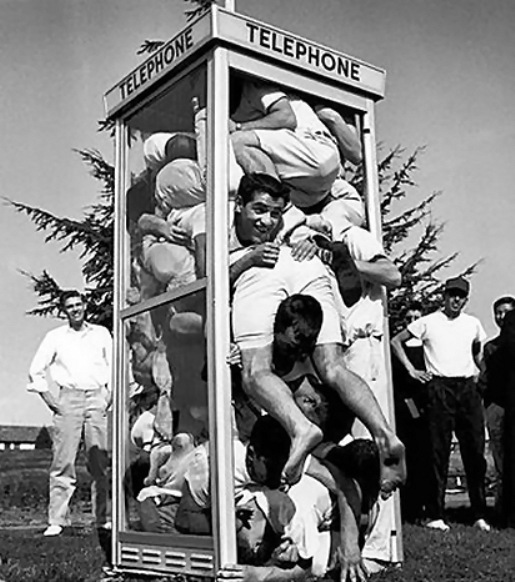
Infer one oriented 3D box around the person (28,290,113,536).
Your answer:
[{"bbox_3d":[-1.486,0.968,8.636,0.571,2.062,1.145,-6,-14,20],"label":"person"}]
